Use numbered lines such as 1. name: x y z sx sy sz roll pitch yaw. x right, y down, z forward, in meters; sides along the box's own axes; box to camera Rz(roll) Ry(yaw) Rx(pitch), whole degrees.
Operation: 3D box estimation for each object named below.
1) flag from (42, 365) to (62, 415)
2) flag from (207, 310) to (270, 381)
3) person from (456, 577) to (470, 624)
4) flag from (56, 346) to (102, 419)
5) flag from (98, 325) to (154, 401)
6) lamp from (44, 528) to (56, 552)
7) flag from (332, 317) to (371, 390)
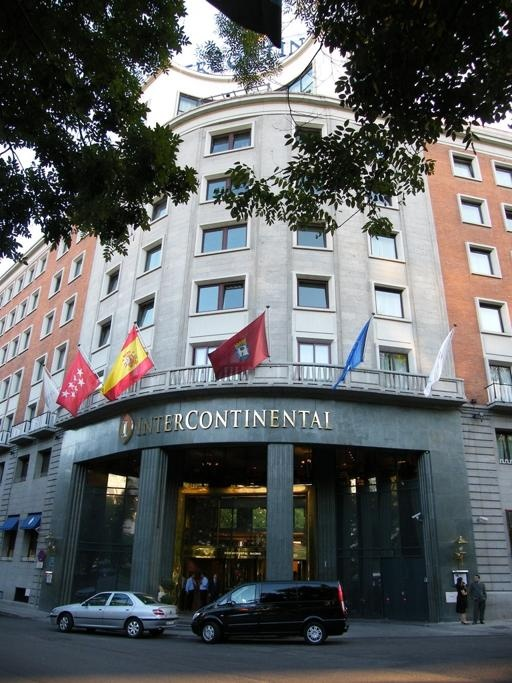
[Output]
1. flag: -12.433 3.089 29.493 1.576 0.447 3.979 34 -44 16
2. flag: -0.672 0.244 21.730 2.980 3.019 0.495 -8 -11 18
3. person: 8.216 10.330 19.333 0.515 1.611 1.090 -9 -28 19
4. flag: -8.819 2.094 24.038 2.060 2.922 0.996 -15 -30 30
5. flag: -6.370 1.136 24.106 0.363 2.742 3.389 8 -63 -58
6. lamp: -11.142 10.795 26.222 0.598 1.296 0.601 25 -51 -33
7. flag: 4.239 0.217 21.224 1.691 3.605 2.391 -5 -27 12
